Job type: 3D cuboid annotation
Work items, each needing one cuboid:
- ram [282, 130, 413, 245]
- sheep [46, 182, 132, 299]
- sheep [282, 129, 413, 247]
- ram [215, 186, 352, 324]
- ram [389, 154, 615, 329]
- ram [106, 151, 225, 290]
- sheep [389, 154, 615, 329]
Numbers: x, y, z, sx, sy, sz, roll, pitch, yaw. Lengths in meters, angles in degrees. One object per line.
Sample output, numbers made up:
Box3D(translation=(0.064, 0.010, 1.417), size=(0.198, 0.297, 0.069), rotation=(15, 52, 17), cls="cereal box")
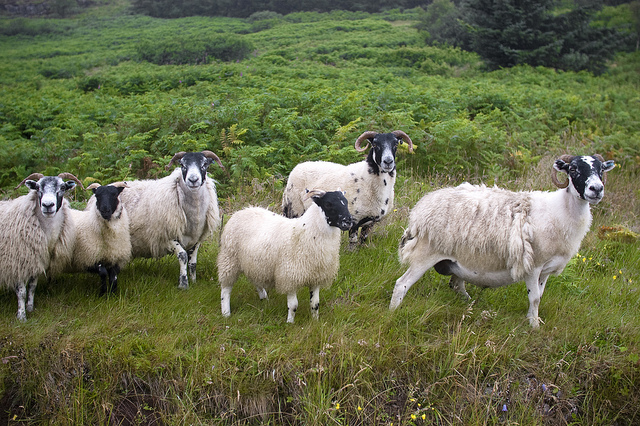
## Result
Box3D(translation=(-0.205, -0.695, 13.270), size=(3.785, 2.975, 1.586), rotation=(-3, -5, 31), cls="ram")
Box3D(translation=(-4.765, 0.727, 12.545), size=(1.323, 2.207, 3.097), rotation=(8, -13, -36), cls="sheep")
Box3D(translation=(-0.090, -0.660, 12.960), size=(3.789, 2.996, 1.642), rotation=(-3, -5, 30), cls="sheep")
Box3D(translation=(-0.556, 0.917, 12.435), size=(3.453, 2.913, 1.634), rotation=(-4, -6, 31), cls="ram")
Box3D(translation=(3.657, 0.587, 11.920), size=(4.213, 3.402, 1.851), rotation=(-1, 3, 28), cls="ram")
Box3D(translation=(-3.612, 0.273, 13.106), size=(3.977, 2.808, 1.710), rotation=(-5, -3, 40), cls="ram")
Box3D(translation=(3.662, 0.590, 11.861), size=(4.043, 3.255, 1.859), rotation=(0, 4, 28), cls="sheep")
